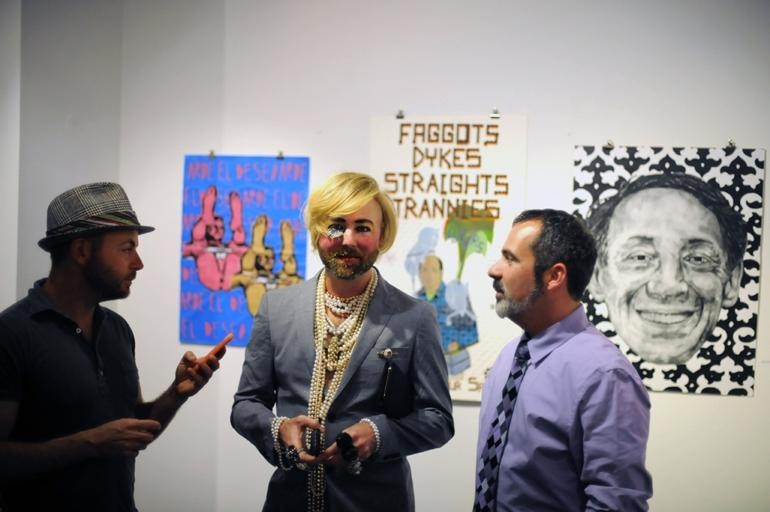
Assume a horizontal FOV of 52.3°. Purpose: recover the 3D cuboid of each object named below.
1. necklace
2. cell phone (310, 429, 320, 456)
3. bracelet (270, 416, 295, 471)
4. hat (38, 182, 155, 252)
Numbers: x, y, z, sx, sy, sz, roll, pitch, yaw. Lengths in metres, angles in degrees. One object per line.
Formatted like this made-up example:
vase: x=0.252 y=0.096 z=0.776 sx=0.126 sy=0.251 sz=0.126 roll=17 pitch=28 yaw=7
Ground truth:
necklace: x=-0.198 y=0.615 z=3.643 sx=0.306 sy=1.101 sz=0.312 roll=1 pitch=2 yaw=-1
cell phone: x=-0.305 y=0.837 z=3.498 sx=0.022 sy=0.102 sz=0.081 roll=5 pitch=-5 yaw=-5
bracelet: x=-0.458 y=0.836 z=3.495 sx=0.058 sy=0.207 sz=0.142 roll=-13 pitch=-9 yaw=1
hat: x=-1.364 y=-0.207 z=3.692 sx=0.517 sy=0.241 sz=0.456 roll=-7 pitch=6 yaw=6
